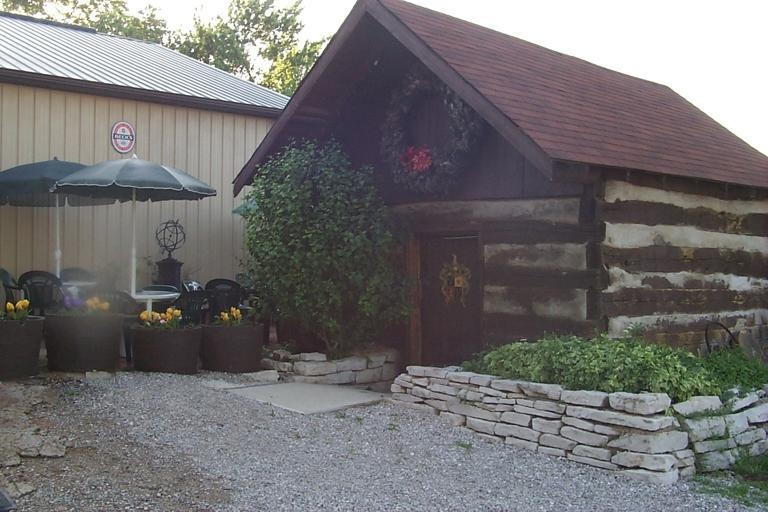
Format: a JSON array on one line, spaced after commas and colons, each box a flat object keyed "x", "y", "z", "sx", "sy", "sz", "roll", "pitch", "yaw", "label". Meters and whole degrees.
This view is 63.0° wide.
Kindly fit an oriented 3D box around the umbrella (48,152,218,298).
[{"x": -4.355, "y": -0.616, "z": 10.926, "sx": 2.265, "sy": 2.309, "sz": 2.407, "roll": -3, "pitch": 14, "yaw": -25, "label": "umbrella"}]
